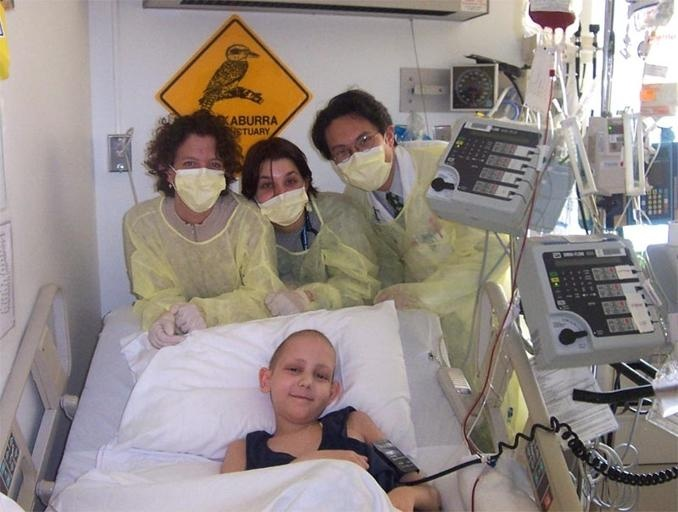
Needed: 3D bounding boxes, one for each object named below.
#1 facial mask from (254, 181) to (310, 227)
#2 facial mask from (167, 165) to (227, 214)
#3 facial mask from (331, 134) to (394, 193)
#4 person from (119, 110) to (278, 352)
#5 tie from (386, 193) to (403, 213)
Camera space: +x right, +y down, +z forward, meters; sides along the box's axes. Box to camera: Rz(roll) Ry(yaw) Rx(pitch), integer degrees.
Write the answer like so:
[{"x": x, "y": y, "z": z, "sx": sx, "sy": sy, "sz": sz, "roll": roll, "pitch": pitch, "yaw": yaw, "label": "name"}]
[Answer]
[{"x": -0.235, "y": -0.224, "z": 2.497, "sx": 0.166, "sy": 0.106, "sz": 0.180, "roll": -18, "pitch": 32, "yaw": 3, "label": "facial mask"}, {"x": -0.588, "y": -0.280, "z": 2.379, "sx": 0.181, "sy": 0.184, "sz": 0.188, "roll": -1, "pitch": 4, "yaw": -17, "label": "facial mask"}, {"x": 0.126, "y": -0.448, "z": 2.615, "sx": 0.206, "sy": 0.180, "sz": 0.218, "roll": -13, "pitch": 19, "yaw": 21, "label": "facial mask"}, {"x": -0.611, "y": -0.096, "z": 2.455, "sx": 0.673, "sy": 1.017, "sz": 0.738, "roll": -10, "pitch": 42, "yaw": -18, "label": "person"}, {"x": 0.273, "y": -0.260, "z": 2.688, "sx": 0.023, "sy": 0.103, "sz": 0.029, "roll": -26, "pitch": -9, "yaw": 23, "label": "tie"}]
